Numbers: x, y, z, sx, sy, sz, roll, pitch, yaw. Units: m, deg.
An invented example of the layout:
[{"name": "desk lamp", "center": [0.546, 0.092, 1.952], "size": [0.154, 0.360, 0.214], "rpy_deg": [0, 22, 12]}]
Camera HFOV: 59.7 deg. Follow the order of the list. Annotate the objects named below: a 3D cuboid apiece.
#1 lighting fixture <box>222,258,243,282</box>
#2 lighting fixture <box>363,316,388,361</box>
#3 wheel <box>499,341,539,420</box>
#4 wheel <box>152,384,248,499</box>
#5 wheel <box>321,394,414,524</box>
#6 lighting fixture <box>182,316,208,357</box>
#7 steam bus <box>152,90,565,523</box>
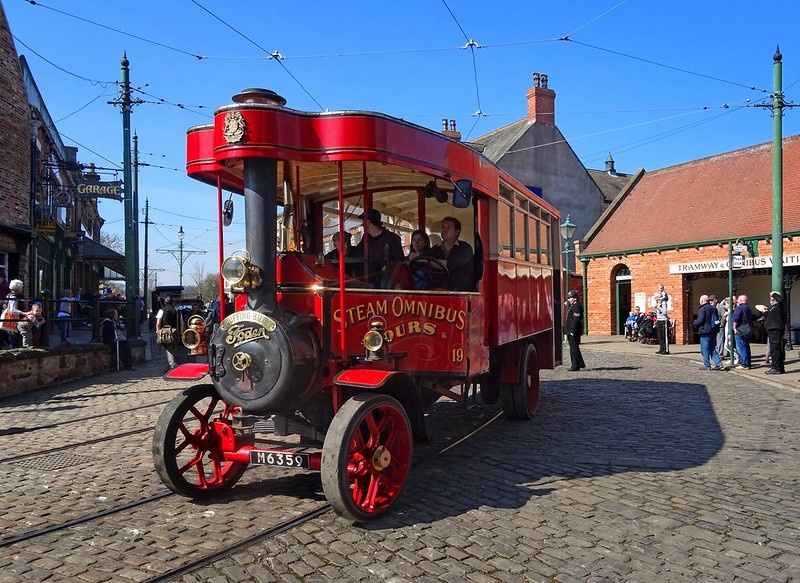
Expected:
[{"name": "lighting fixture", "center": [-1.642, -0.200, 6.795], "size": [0.238, 0.275, 0.119], "rpy_deg": [0, 4, -3]}, {"name": "lighting fixture", "center": [-0.252, 0.475, 6.915], "size": [0.217, 0.398, 0.487], "rpy_deg": [0, 4, 2]}, {"name": "wheel", "center": [1.827, 1.374, 10.516], "size": [0.371, 1.247, 1.209], "rpy_deg": [0, 16, 21]}, {"name": "wheel", "center": [-2.063, 1.612, 7.179], "size": [0.298, 1.143, 1.105], "rpy_deg": [1, -3, 25]}, {"name": "wheel", "center": [-0.315, 1.561, 6.610], "size": [0.364, 1.149, 0.955], "rpy_deg": [3, 5, 37]}, {"name": "lighting fixture", "center": [-2.184, 0.472, 7.376], "size": [0.249, 0.408, 0.284], "rpy_deg": [4, 4, 43]}, {"name": "steam bus", "center": [0.227, 0.234, 9.556], "size": [2.951, 4.013, 7.101], "rpy_deg": [-1, 0, 28]}]
